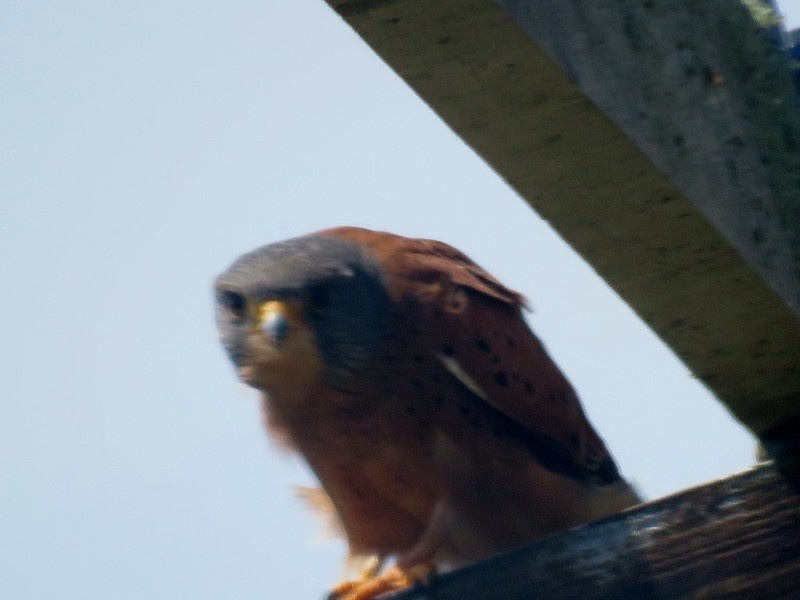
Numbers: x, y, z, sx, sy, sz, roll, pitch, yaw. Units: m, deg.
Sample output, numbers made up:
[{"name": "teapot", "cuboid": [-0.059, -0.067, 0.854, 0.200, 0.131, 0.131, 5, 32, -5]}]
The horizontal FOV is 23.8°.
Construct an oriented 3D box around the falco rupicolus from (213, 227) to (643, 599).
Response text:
[{"name": "falco rupicolus", "cuboid": [0.025, 0.255, 3.129, 0.426, 0.458, 0.739, -34, -36, 33]}]
